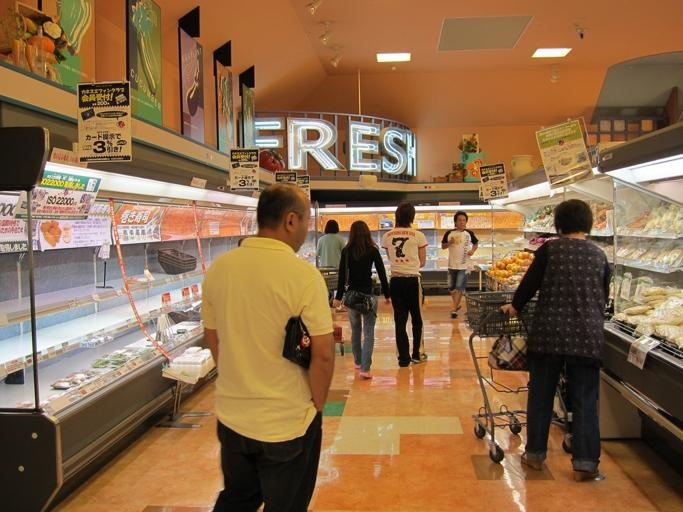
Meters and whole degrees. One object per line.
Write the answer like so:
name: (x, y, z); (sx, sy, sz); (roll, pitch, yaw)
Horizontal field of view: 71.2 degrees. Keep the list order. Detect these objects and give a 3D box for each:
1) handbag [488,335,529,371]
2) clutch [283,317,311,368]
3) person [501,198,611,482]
handbag: (1.269, 0.729, 3.606); (0.288, 0.295, 0.155); (1, -7, 5)
clutch: (-0.186, 0.381, 2.162); (0.093, 0.204, 0.207); (11, 2, 19)
person: (1.549, 0.714, 3.378); (0.655, 1.675, 0.286); (0, 5, 12)
